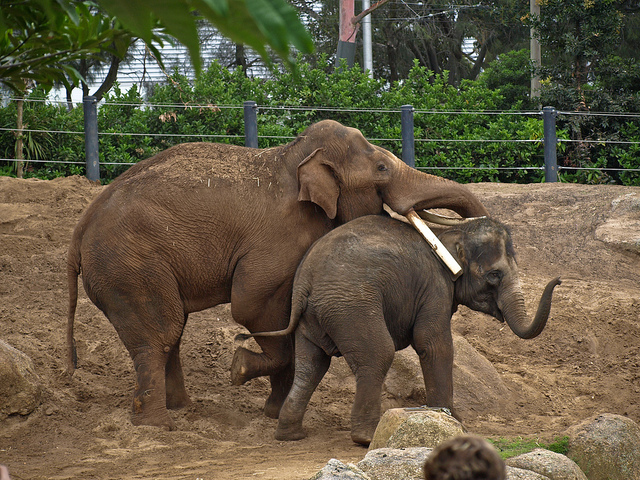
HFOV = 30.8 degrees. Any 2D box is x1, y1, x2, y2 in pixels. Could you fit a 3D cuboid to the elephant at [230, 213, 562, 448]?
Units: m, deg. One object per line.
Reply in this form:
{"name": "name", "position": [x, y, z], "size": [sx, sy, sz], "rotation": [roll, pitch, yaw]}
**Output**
{"name": "elephant", "position": [0.846, 0.791, 11.348], "size": [3.085, 2.219, 1.456], "rotation": [-5, 9, -18]}
